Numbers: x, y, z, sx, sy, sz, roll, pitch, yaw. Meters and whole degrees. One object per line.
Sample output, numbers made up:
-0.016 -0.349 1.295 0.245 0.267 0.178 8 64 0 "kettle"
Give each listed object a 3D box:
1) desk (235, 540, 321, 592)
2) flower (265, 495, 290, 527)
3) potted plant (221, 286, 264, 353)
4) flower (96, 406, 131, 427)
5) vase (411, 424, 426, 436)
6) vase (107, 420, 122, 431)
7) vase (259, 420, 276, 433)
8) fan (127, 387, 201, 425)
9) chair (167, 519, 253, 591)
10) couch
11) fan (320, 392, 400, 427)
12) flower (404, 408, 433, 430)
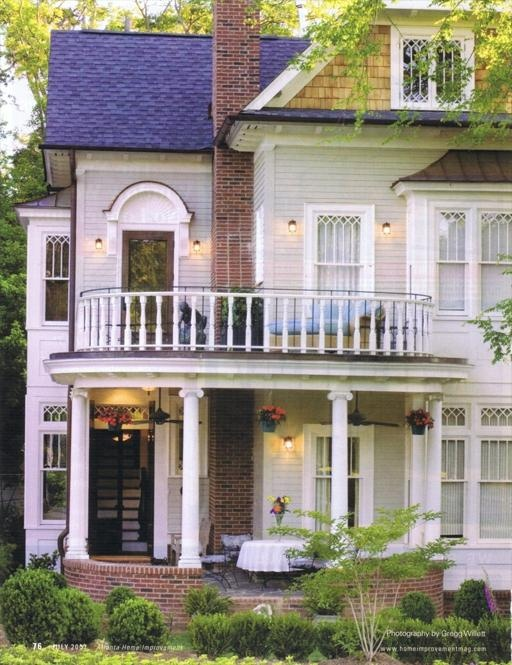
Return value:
0.181 3.121 29.816 0.872 0.482 0.966 6 -1 -8 "desk"
0.295 2.450 30.393 0.294 0.470 1.016 -1 -7 11 "flower"
-0.182 -0.224 29.910 0.375 0.874 0.452 1 -2 -20 "potted plant"
-2.027 1.062 30.795 0.390 0.313 0.418 6 -8 -12 "flower"
2.284 1.306 30.029 0.135 0.111 0.146 -2 -7 20 "vase"
-2.050 1.276 31.013 0.178 0.148 0.166 -16 -21 40 "vase"
0.164 1.249 29.873 0.162 0.143 0.177 -1 -9 9 "vase"
-1.369 1.054 31.276 1.026 0.491 4.001 1 -7 -3 "fan"
-0.624 3.132 31.059 0.997 1.013 2.719 1 -7 -9 "chair"
1.002 -0.100 29.625 1.579 0.711 0.899 1 -6 -1 "couch"
1.482 1.031 30.521 1.084 0.504 0.824 0 -6 4 "fan"
2.303 1.150 29.954 0.251 0.239 0.277 4 -4 1 "flower"
